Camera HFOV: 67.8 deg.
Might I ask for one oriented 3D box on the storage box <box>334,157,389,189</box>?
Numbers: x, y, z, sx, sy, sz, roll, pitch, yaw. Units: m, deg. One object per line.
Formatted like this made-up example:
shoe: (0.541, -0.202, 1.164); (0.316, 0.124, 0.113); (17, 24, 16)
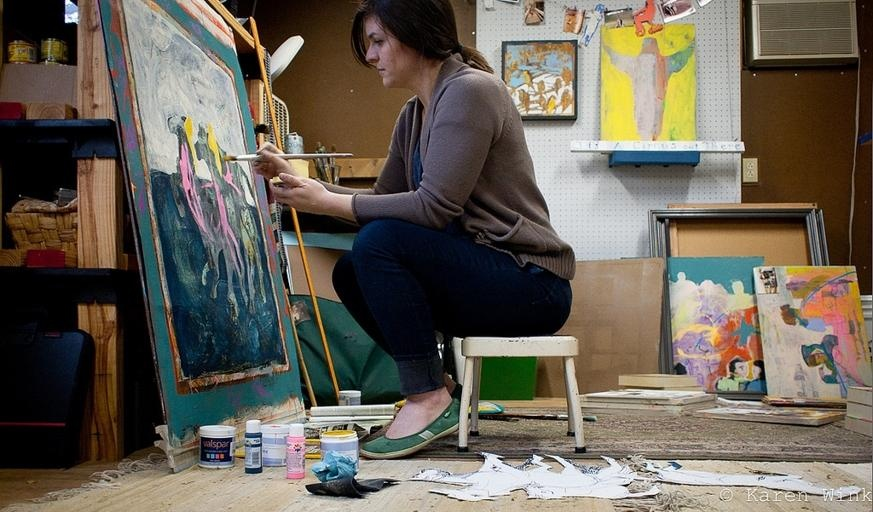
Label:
storage box: (-0.524, -0.573, 4.546); (0.330, 0.084, 0.352); (0, 1, 2)

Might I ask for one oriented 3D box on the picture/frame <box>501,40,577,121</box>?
picture/frame: (0.696, -1.175, 4.342); (0.511, 0.492, 0.024); (9, 21, 30)

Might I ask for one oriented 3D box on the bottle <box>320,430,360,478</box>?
bottle: (-0.330, 0.714, 2.347); (0.141, 0.146, 0.137); (0, -5, 0)

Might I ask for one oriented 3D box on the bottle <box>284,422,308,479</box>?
bottle: (-0.516, 0.705, 2.384); (0.064, 0.188, 0.122); (0, 2, -13)

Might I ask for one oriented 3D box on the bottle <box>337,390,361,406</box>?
bottle: (-0.438, 0.700, 3.261); (0.092, 0.065, 0.091); (1, 0, 0)

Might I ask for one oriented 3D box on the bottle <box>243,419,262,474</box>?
bottle: (-0.670, 0.702, 2.387); (0.060, 0.183, 0.041); (0, 2, -4)

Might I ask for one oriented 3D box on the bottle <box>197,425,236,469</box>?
bottle: (-0.813, 0.708, 2.444); (0.147, 0.146, 0.143); (1, -2, -8)

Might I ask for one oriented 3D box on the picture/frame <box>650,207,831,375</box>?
picture/frame: (1.934, 0.265, 4.296); (1.306, 1.190, 0.121); (-5, 11, -22)

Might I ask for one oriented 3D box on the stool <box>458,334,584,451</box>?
stool: (0.346, 0.526, 2.768); (0.504, 0.413, 0.504); (-1, -5, 2)

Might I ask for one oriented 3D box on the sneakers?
sneakers: (-0.056, 0.642, 2.583); (0.490, 0.186, 0.162); (-14, 5, -26)
